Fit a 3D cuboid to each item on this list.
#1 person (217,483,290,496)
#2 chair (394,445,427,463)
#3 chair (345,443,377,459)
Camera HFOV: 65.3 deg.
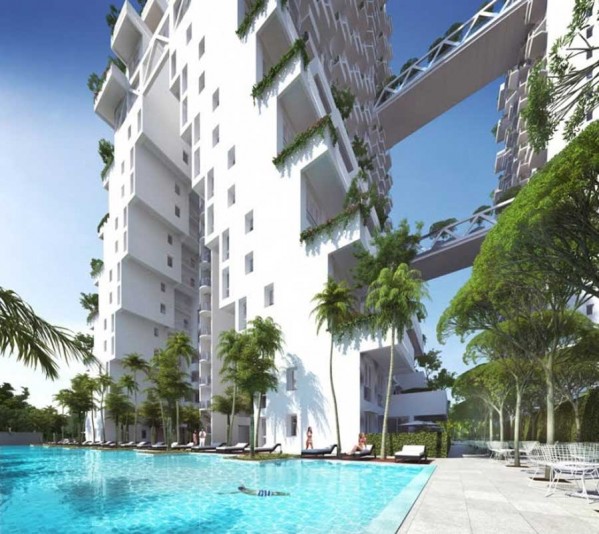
[{"bbox_3d":[-1.542,7.822,16.345,2.612,0.330,1.163,-10,-27,18],"label":"person"},{"bbox_3d":[5.910,9.936,24.955,1.556,0.978,2.447,-7,-25,14],"label":"chair"},{"bbox_3d":[3.650,10.768,27.336,1.483,0.967,3.199,-12,-27,24],"label":"chair"}]
